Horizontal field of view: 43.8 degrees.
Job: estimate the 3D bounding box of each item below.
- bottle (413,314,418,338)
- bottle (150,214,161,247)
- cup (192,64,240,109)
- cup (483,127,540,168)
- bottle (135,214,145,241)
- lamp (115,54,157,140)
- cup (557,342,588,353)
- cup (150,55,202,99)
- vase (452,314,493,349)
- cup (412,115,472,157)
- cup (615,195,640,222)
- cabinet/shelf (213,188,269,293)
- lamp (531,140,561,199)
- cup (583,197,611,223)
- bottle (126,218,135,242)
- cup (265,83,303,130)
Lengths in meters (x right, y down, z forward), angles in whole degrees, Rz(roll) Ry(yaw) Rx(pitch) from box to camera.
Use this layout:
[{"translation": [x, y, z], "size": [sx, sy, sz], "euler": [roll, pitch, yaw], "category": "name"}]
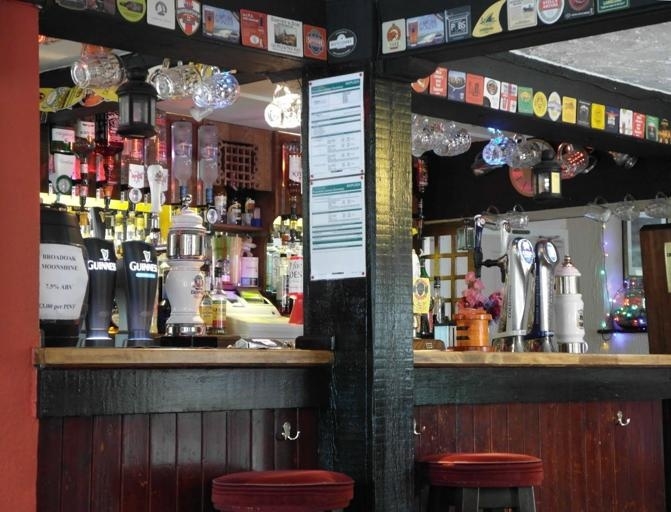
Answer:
[{"translation": [0.459, 0.391, 4.721], "size": [0.020, 0.121, 0.061], "euler": [-2, -5, 16], "category": "bottle"}, {"translation": [-1.157, -0.185, 5.381], "size": [0.052, 0.209, 0.234], "euler": [1, -6, -11], "category": "bottle"}, {"translation": [-0.623, -0.877, 4.288], "size": [0.161, 0.154, 0.235], "euler": [25, 28, 17], "category": "cup"}, {"translation": [1.275, -0.745, 6.032], "size": [0.408, 0.216, 0.219], "euler": [-2, -6, 16], "category": "cup"}, {"translation": [-1.479, -0.226, 6.342], "size": [0.073, 0.201, 0.153], "euler": [1, -5, -14], "category": "bottle"}, {"translation": [-1.033, -0.818, 4.353], "size": [0.194, 0.375, 0.190], "euler": [0, -3, -17], "category": "lamp"}, {"translation": [1.265, 0.482, 4.423], "size": [0.107, 0.078, 0.069], "euler": [6, -10, -35], "category": "cup"}, {"translation": [-0.833, -0.946, 4.367], "size": [0.252, 0.188, 0.265], "euler": [-8, 23, 3], "category": "cup"}, {"translation": [0.725, 0.397, 4.423], "size": [0.157, 0.194, 0.180], "euler": [1, -8, -5], "category": "vase"}, {"translation": [0.722, -0.825, 5.796], "size": [0.357, 0.283, 0.175], "euler": [1, 14, -12], "category": "cup"}, {"translation": [2.488, -0.424, 7.129], "size": [0.128, 0.199, 0.178], "euler": [-13, -28, 14], "category": "cup"}, {"translation": [-0.799, -0.108, 7.059], "size": [0.266, 0.853, 0.776], "euler": [-2, -8, 23], "category": "cabinet/shelf"}, {"translation": [1.500, -0.611, 5.936], "size": [0.184, 0.422, 0.239], "euler": [-1, -5, 12], "category": "lamp"}, {"translation": [2.288, -0.421, 7.314], "size": [0.148, 0.202, 0.164], "euler": [22, 19, 14], "category": "cup"}, {"translation": [-1.524, -0.208, 6.255], "size": [0.079, 0.174, 0.231], "euler": [1, -6, -15], "category": "bottle"}, {"translation": [-0.323, -0.953, 5.111], "size": [0.201, 0.362, 0.592], "euler": [0, -5, -5], "category": "cup"}]
